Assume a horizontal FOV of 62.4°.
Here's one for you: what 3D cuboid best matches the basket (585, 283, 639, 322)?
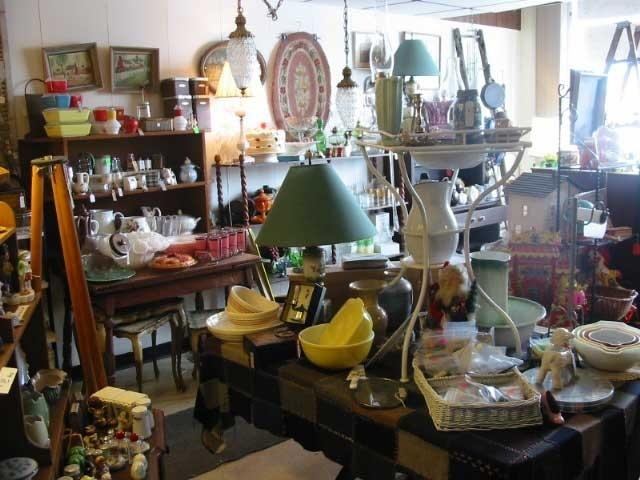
[{"bbox_3d":[1.319,0.271,2.383,0.193,0.115,0.203,-1,5,25],"label":"basket"}]

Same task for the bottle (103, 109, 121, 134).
[{"bbox_3d":[-1.486,-0.852,3.782,0.153,0.223,0.157,0,13,0],"label":"bottle"}]

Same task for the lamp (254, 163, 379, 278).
[{"bbox_3d":[-0.027,-0.132,2.321,0.550,0.487,0.567,1,-2,38],"label":"lamp"}]

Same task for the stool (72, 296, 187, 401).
[{"bbox_3d":[-1.319,0.747,3.710,0.409,0.506,0.512,17,17,23],"label":"stool"}]

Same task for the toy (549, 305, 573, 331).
[{"bbox_3d":[0.978,0.317,2.158,0.057,0.096,0.095,-3,2,-44],"label":"toy"}]

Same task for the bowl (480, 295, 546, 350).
[{"bbox_3d":[0.743,0.297,2.013,0.207,0.084,0.207,-2,8,0],"label":"bowl"}]

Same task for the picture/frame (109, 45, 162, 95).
[{"bbox_3d":[-1.440,-1.317,4.061,0.368,0.332,0.047,-8,12,-42],"label":"picture/frame"}]

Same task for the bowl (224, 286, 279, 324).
[{"bbox_3d":[-0.280,0.274,2.253,0.150,0.084,0.180,24,7,23],"label":"bowl"}]

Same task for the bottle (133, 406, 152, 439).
[{"bbox_3d":[-0.699,0.714,2.077,0.078,0.113,0.071,-3,13,1],"label":"bottle"}]

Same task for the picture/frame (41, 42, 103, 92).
[{"bbox_3d":[-1.803,-1.251,3.796,0.383,0.334,0.053,-13,13,-38],"label":"picture/frame"}]

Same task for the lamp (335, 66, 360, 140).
[{"bbox_3d":[0.246,-1.230,4.629,0.215,0.560,0.401,-2,13,4],"label":"lamp"}]

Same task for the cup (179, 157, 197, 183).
[{"bbox_3d":[-1.042,-0.551,4.180,0.166,0.244,0.172,0,0,0],"label":"cup"}]

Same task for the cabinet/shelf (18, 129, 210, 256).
[{"bbox_3d":[-1.424,-0.335,3.616,0.861,0.763,0.269,-9,11,-44],"label":"cabinet/shelf"}]

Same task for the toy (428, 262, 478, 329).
[{"bbox_3d":[0.454,0.196,1.836,0.125,0.216,0.149,-14,17,-40],"label":"toy"}]

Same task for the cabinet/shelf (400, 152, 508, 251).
[{"bbox_3d":[1.621,-0.404,5.994,0.700,1.000,1.343,7,17,36],"label":"cabinet/shelf"}]

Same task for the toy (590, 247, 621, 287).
[{"bbox_3d":[1.631,0.153,3.028,0.176,0.227,0.075,6,-23,-44],"label":"toy"}]

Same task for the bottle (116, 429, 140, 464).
[{"bbox_3d":[-0.731,0.783,2.028,0.086,0.089,0.137,0,-2,-28],"label":"bottle"}]

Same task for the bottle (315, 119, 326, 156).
[{"bbox_3d":[0.002,-0.991,5.052,0.111,0.330,0.321,-4,13,-1],"label":"bottle"}]

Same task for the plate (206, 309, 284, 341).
[{"bbox_3d":[-0.361,0.357,2.163,0.156,0.039,0.162,5,12,33],"label":"plate"}]

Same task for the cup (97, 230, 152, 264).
[{"bbox_3d":[-1.297,0.051,3.519,0.259,0.119,0.225,11,17,1],"label":"cup"}]

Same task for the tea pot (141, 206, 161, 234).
[{"bbox_3d":[-1.272,-0.147,3.953,0.105,0.231,0.201,0,3,35],"label":"tea pot"}]

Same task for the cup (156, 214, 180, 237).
[{"bbox_3d":[-1.167,-0.109,4.028,0.139,0.151,0.137,-3,2,0],"label":"cup"}]

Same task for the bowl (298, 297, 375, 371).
[{"bbox_3d":[0.066,0.349,1.910,0.206,0.182,0.270,2,9,31],"label":"bowl"}]

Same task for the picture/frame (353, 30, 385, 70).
[{"bbox_3d":[0.495,-1.910,5.286,0.421,0.432,0.043,12,26,35],"label":"picture/frame"}]

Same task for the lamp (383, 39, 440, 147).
[{"bbox_3d":[0.823,-1.416,4.701,0.409,0.677,0.416,-11,30,-15],"label":"lamp"}]

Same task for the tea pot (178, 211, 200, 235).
[{"bbox_3d":[-1.002,-0.142,4.172,0.174,0.131,0.134,-6,12,19],"label":"tea pot"}]

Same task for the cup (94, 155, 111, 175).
[{"bbox_3d":[-1.573,-0.553,3.839,0.119,0.144,0.125,3,13,-1],"label":"cup"}]
